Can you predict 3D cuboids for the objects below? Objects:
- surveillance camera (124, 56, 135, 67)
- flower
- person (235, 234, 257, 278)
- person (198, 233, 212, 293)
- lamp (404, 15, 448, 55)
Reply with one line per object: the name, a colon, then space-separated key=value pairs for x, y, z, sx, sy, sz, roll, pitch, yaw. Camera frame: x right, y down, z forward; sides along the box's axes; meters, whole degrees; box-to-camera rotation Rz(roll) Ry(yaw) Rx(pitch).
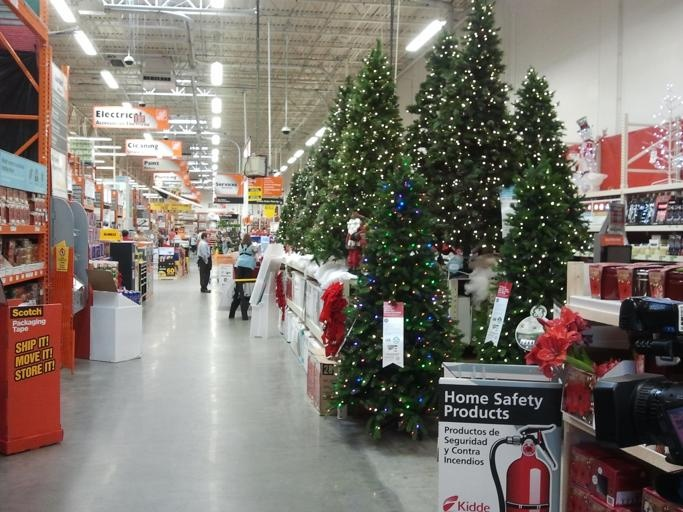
surveillance camera: x=-4.543 y=-4.155 z=12.336 sx=0.204 sy=0.218 sz=0.280 roll=-1 pitch=15 yaw=-16
flower: x=1.090 y=0.391 z=3.032 sx=0.322 sy=0.251 sz=0.312 roll=-5 pitch=6 yaw=38
person: x=-1.857 y=-0.010 z=11.132 sx=0.380 sy=0.841 sz=0.453 roll=0 pitch=3 yaw=-13
person: x=-3.938 y=0.163 z=16.449 sx=0.345 sy=1.652 sz=1.441 roll=0 pitch=3 yaw=-14
lamp: x=1.739 y=-4.769 z=12.049 sx=0.519 sy=0.540 sz=1.487 roll=1 pitch=3 yaw=-5
